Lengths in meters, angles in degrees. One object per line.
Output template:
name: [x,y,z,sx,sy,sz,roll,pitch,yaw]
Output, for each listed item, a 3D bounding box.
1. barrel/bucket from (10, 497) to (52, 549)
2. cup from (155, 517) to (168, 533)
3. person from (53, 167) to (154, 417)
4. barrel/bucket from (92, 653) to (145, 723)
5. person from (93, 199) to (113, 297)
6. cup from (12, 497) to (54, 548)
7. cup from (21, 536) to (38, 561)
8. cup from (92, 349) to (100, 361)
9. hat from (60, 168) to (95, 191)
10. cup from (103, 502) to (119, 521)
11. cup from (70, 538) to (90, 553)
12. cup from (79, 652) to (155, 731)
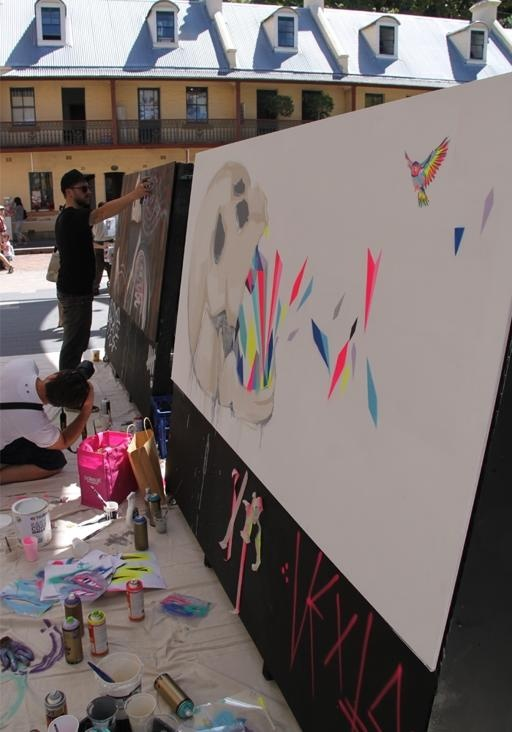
barrel/bucket: [-1.425,0.972,3.402,0.205,0.349,0.254,0,9,-6]
cup: [-0.609,1.050,3.408,0.069,0.100,0.071,2,16,-1]
person: [-1.712,-0.984,5.302,0.712,2.086,1.310,-7,11,-35]
barrel/bucket: [-0.547,1.264,2.119,0.122,0.236,0.179,-7,17,-34]
person: [-2.644,-1.930,8.711,0.350,1.506,0.352,-2,24,-27]
cup: [-1.423,0.969,3.418,0.204,0.346,0.252,0,9,-7]
cup: [-1.371,1.112,3.213,0.086,0.151,0.180,-6,11,-25]
cup: [-2.236,-0.155,7.410,0.121,0.244,0.118,1,1,0]
hat: [-1.861,-1.966,5.464,0.277,0.281,0.615,-4,12,-14]
cup: [-0.992,1.015,3.627,0.079,0.126,0.094,7,5,8]
cup: [-1.080,1.117,3.244,0.066,0.096,0.113,9,-8,-18]
cup: [-0.530,1.267,2.084,0.168,0.316,0.179,1,1,0]
